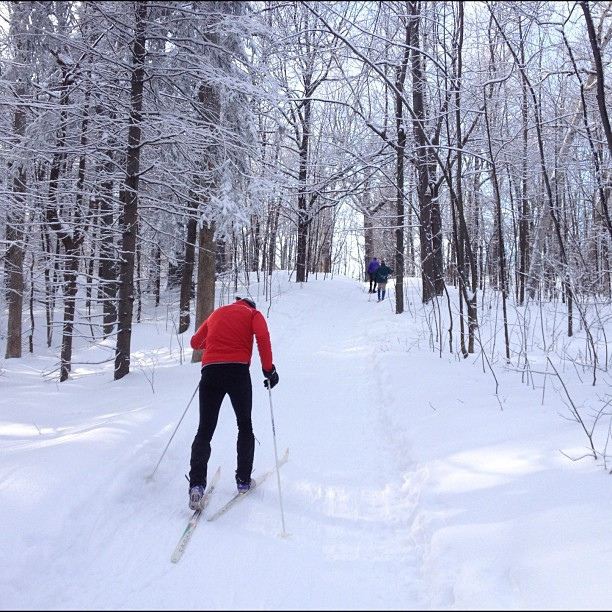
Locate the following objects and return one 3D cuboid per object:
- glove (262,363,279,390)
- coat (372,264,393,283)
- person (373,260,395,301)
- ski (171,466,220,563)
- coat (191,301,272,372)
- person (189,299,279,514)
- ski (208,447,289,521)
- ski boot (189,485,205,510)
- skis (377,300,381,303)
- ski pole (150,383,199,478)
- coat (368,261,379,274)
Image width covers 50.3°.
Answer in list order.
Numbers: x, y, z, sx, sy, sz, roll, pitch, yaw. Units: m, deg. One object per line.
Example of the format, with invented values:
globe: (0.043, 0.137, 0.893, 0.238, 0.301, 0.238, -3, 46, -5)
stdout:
glove: (-0.420, 0.847, 7.796, 0.184, 0.287, 0.098, 2, -2, 42)
coat: (2.252, -0.969, 19.219, 0.373, 0.537, 0.551, -3, -1, 9)
person: (2.307, -0.733, 19.284, 0.551, 1.293, 0.402, -11, -22, 32)
ski: (-1.210, 2.295, 7.123, 0.122, 0.080, 1.201, 21, 33, -5)
coat: (-0.920, 0.389, 7.984, 0.998, 1.014, 0.599, -6, -36, 14)
person: (-0.931, 1.143, 7.849, 0.967, 2.921, 0.950, -5, -34, 7)
ski: (-0.686, 2.127, 7.667, 0.157, 0.143, 1.296, -14, 20, 33)
ski boot: (-1.204, 2.093, 7.147, 0.096, 0.141, 0.272, 4, -1, -6)
skis: (2.098, -0.135, 18.544, 0.054, 0.073, 0.221, -3, 9, 18)
ski pole: (-1.725, 1.662, 8.523, 0.018, 1.259, 0.043, 33, -2, -3)
coat: (2.164, -1.271, 20.925, 0.287, 0.592, 0.545, -2, 6, -12)
